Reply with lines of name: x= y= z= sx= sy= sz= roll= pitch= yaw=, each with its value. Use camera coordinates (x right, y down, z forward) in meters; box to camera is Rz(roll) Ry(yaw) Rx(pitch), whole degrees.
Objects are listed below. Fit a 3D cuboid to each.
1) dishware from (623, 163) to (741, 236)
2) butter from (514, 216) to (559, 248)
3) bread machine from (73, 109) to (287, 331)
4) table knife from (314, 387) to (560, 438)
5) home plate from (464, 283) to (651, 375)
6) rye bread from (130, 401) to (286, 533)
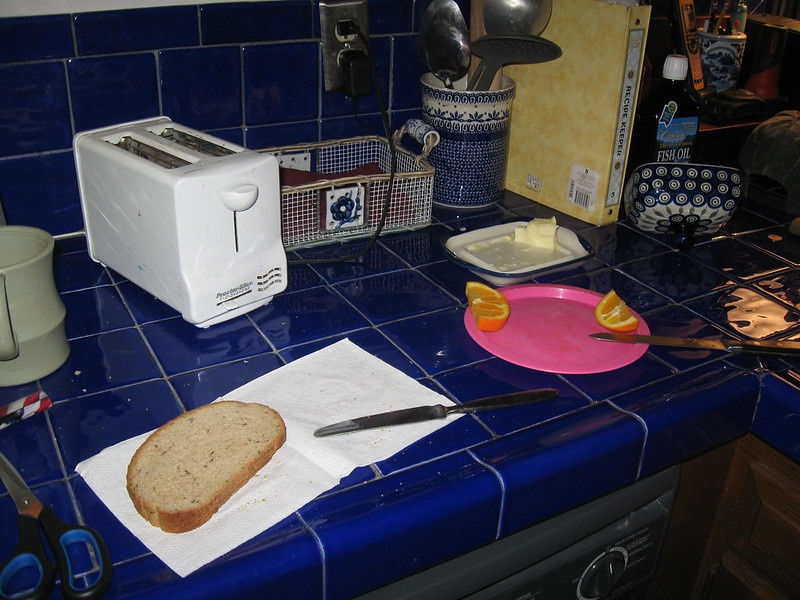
dishware: x=0.563 y=-0.200 z=1.268 sx=0.140 sy=0.092 sz=0.181 roll=9 pitch=-13 yaw=4
butter: x=0.274 y=-0.128 z=1.278 sx=0.070 sy=0.046 sz=0.069 roll=5 pitch=17 yaw=23
bread machine: x=-0.376 y=-0.140 z=1.118 sx=0.220 sy=0.254 sz=0.366 roll=-20 pitch=36 yaw=-37
table knife: x=0.046 y=0.157 z=0.890 sx=0.266 sy=0.014 sz=0.031 roll=-6 pitch=16 yaw=-13
home plate: x=0.243 y=0.045 z=1.054 sx=0.265 sy=0.047 sz=0.235 roll=-5 pitch=28 yaw=-14
rye bread: x=-0.245 y=0.207 z=0.822 sx=0.152 sy=0.031 sz=0.115 roll=-28 pitch=43 yaw=-36
